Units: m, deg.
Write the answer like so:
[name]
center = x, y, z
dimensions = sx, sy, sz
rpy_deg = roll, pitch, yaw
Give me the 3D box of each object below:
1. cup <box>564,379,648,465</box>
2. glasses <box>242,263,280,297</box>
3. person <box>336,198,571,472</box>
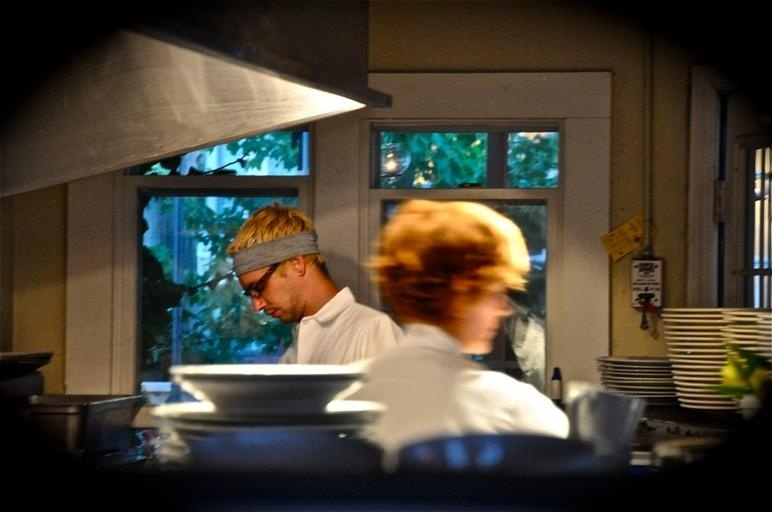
[cup]
center = 0.537, 0.411, 2.722
dimensions = 0.188, 0.187, 0.097
rpy_deg = -2, 4, 8
[glasses]
center = -0.419, 0.103, 3.974
dimensions = 0.034, 0.124, 0.119
rpy_deg = 47, -24, -4
[person]
center = 0.154, 0.227, 3.072
dimensions = 0.478, 0.716, 0.851
rpy_deg = 0, 3, -29
